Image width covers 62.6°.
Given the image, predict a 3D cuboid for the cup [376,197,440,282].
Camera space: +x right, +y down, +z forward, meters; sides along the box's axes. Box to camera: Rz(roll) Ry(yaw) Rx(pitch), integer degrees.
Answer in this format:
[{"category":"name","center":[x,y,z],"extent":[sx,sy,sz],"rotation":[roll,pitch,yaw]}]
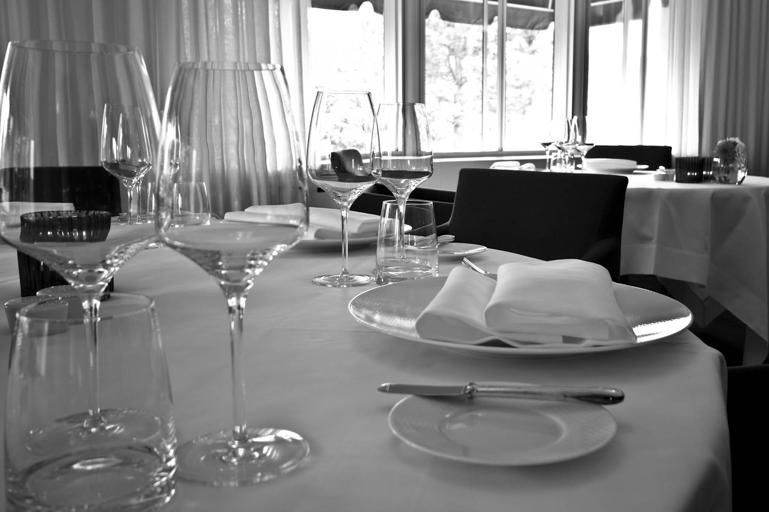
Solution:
[{"category":"cup","center":[0.039,-0.043,1.084],"extent":[0.096,0.155,0.109],"rotation":[-2,32,-5]}]
